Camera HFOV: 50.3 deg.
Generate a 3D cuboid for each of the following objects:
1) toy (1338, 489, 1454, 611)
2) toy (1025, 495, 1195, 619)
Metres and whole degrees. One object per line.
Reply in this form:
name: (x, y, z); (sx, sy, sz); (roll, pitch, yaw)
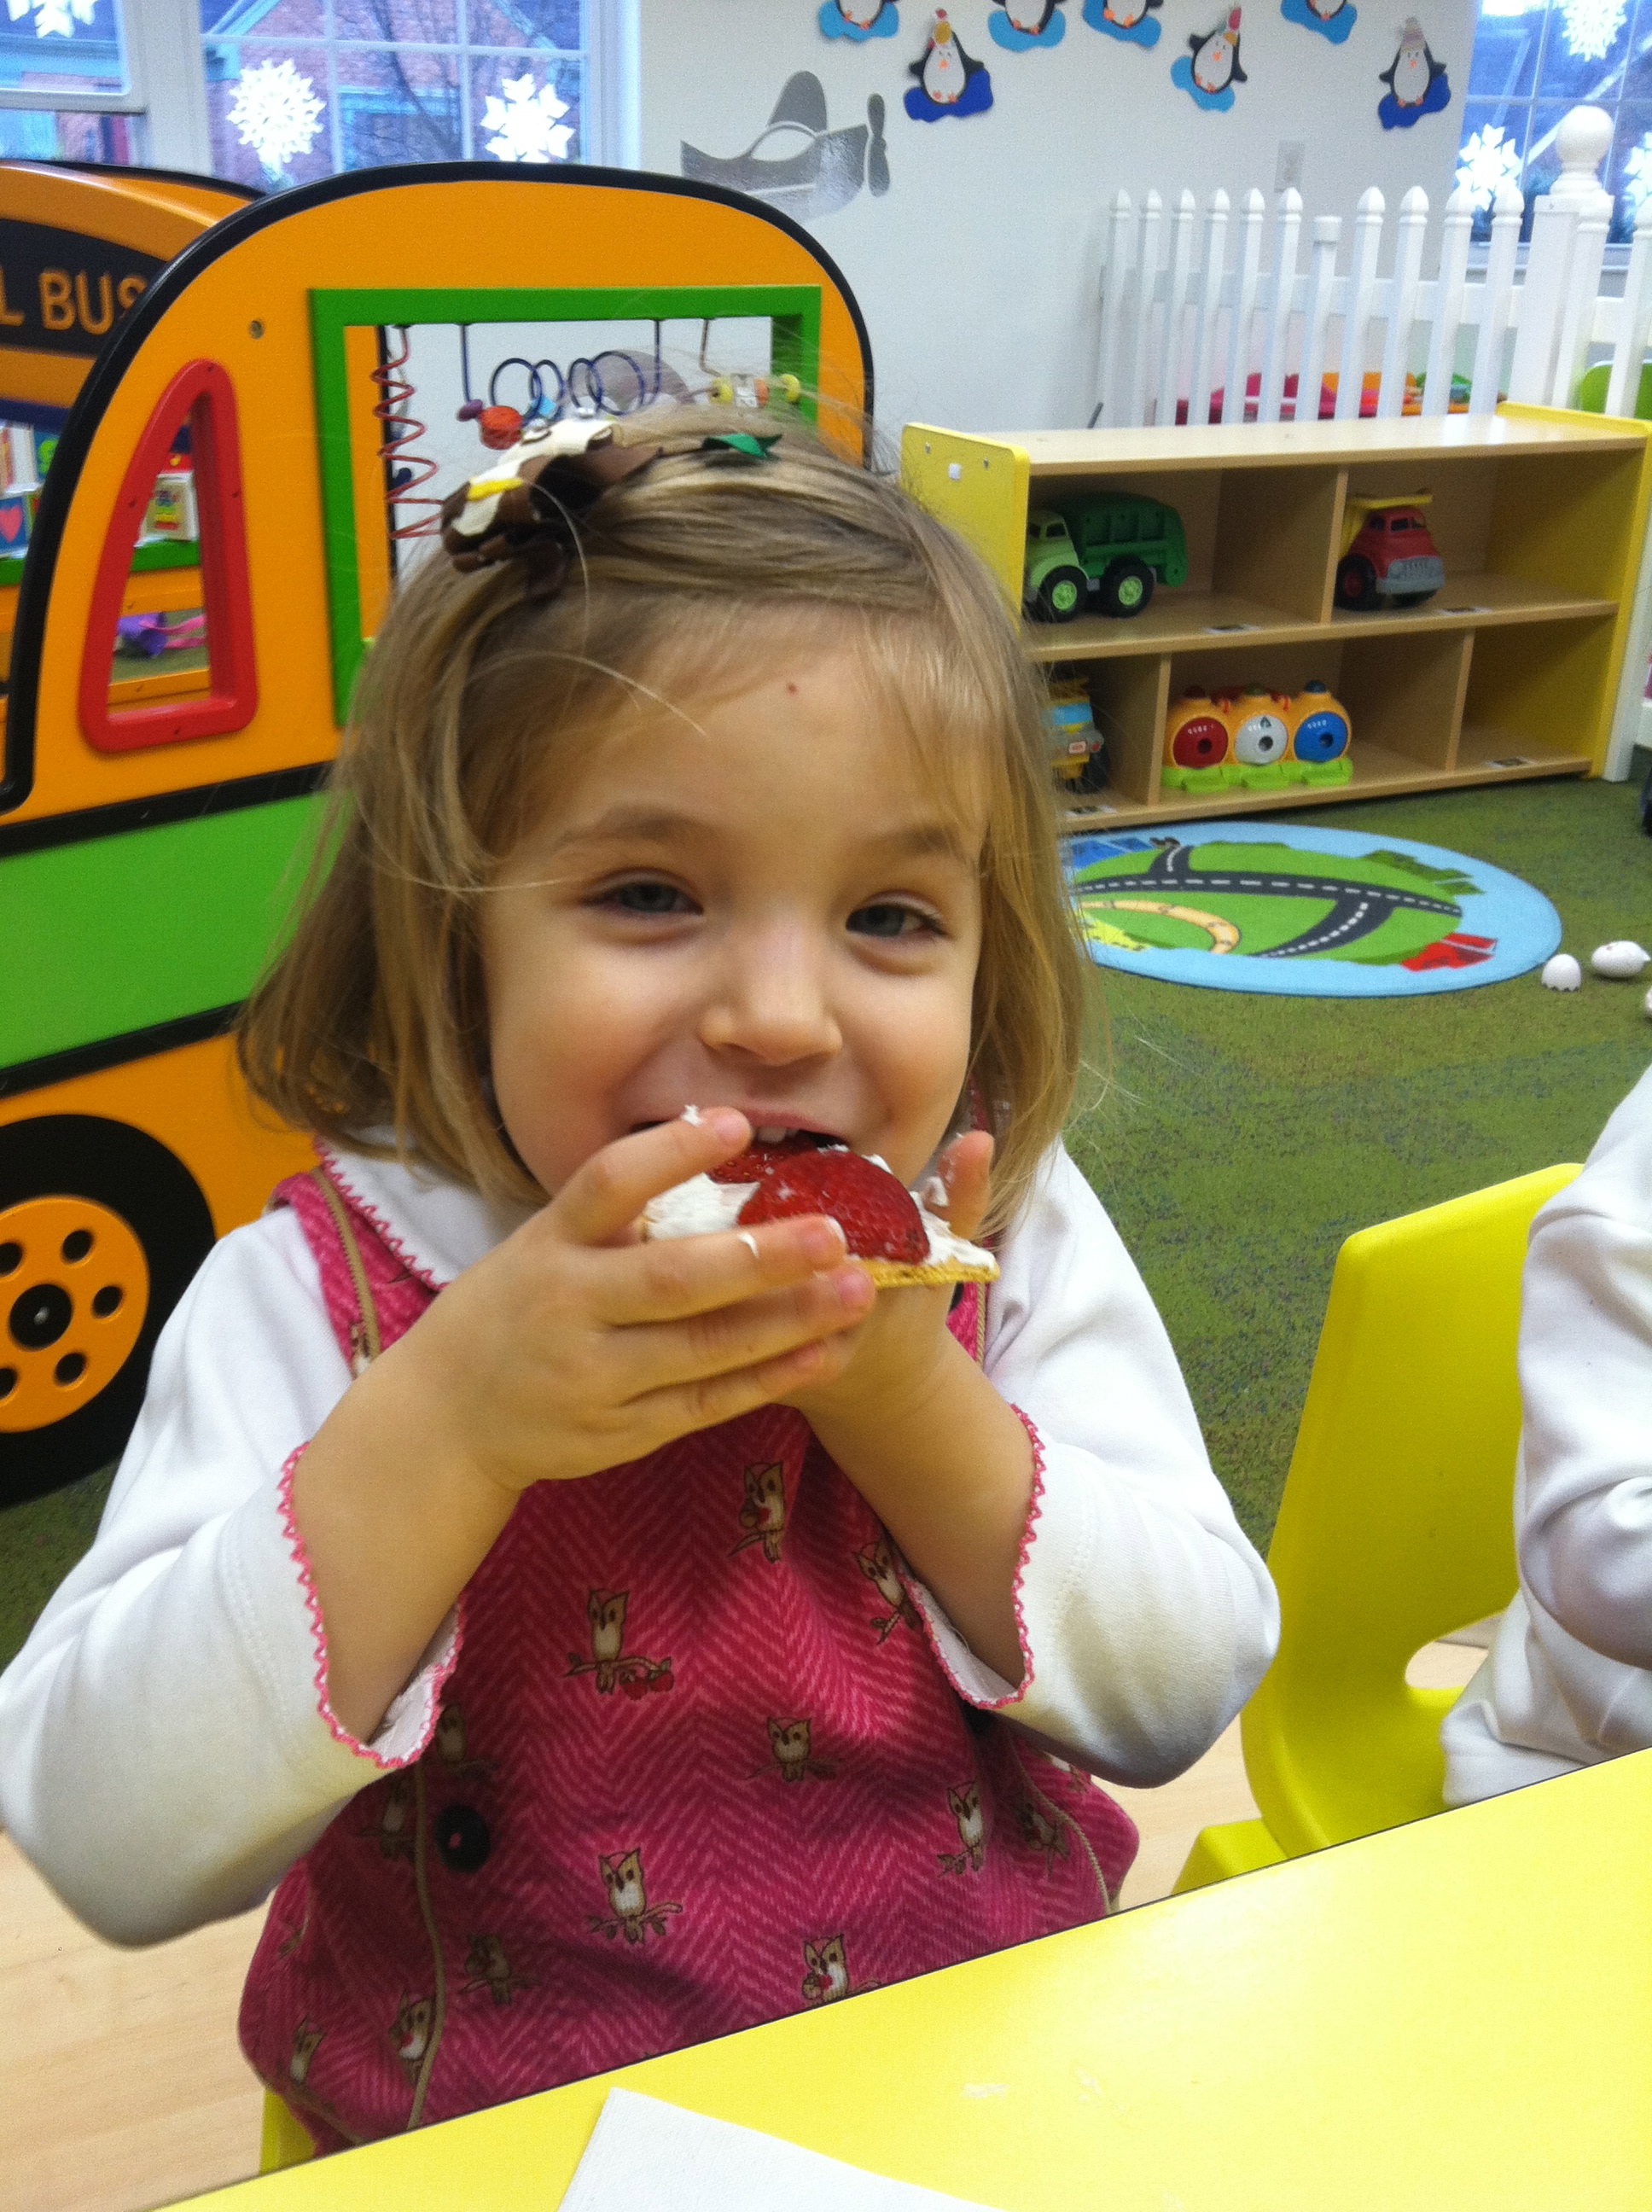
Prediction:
toy: (1.410, -1.395, 4.416); (0.217, 0.210, 0.355); (3, 23, 0)
toy: (0.667, -1.338, 4.227); (0.454, 0.217, 0.264); (-6, 21, -12)
